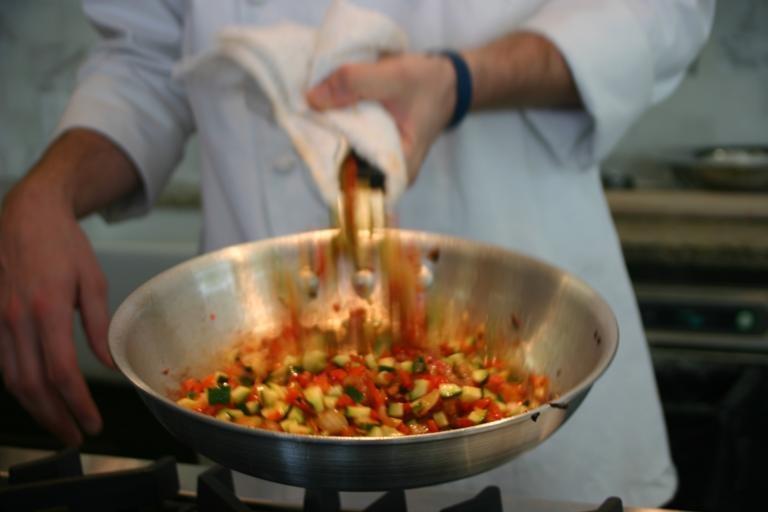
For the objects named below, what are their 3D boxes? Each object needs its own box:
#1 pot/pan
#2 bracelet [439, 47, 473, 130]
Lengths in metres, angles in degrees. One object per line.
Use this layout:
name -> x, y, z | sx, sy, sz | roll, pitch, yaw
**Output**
pot/pan -> -0.101, 0.078, 1.374 | 0.641, 0.170, 0.652 | -15, 30, -24
bracelet -> 0.148, -0.357, 1.581 | 0.029, 0.134, 0.098 | 4, 18, -14
